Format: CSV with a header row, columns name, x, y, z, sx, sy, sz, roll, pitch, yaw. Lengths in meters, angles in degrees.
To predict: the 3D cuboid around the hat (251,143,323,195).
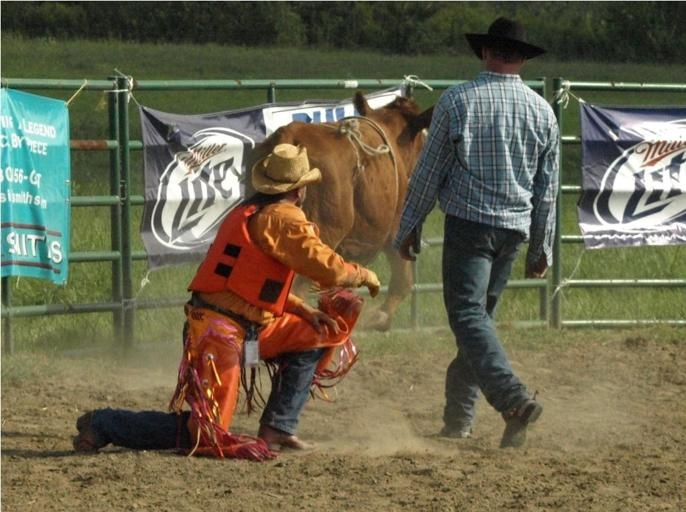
name,x,y,z,sx,sy,sz,roll,pitch,yaw
hat,-0.778,-1.073,26.152,0.826,0.497,1.060,-16,-4,-20
